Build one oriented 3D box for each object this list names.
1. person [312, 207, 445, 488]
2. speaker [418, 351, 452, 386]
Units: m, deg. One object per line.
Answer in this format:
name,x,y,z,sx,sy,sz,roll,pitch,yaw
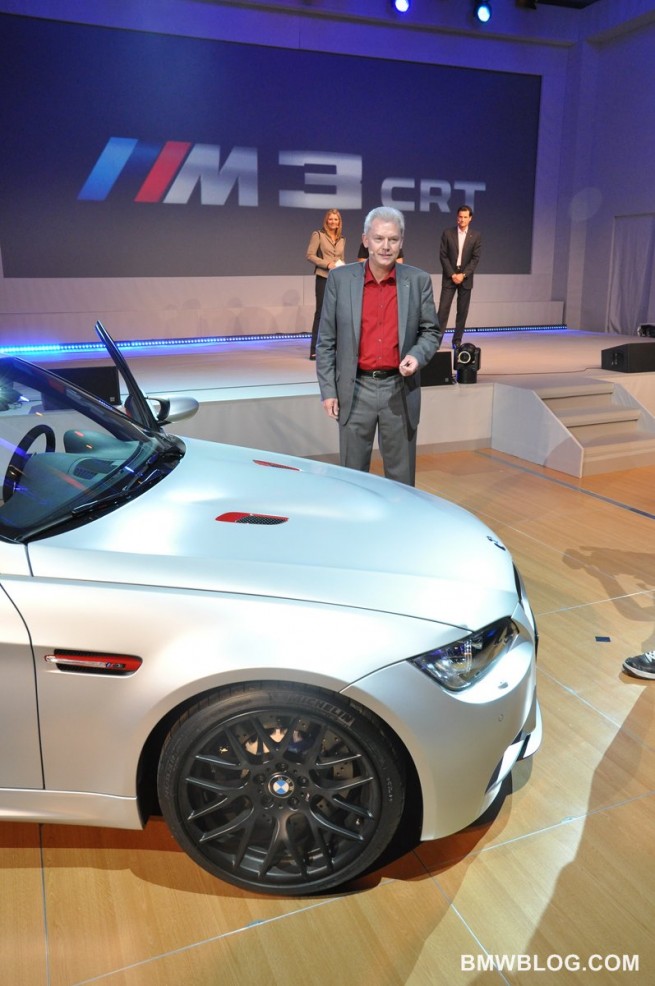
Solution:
person,0.263,-0.512,3.387,0.587,1.756,0.559,-1,32,2
speaker,1.006,-1.120,6.083,0.379,0.364,0.095,-3,13,-13
